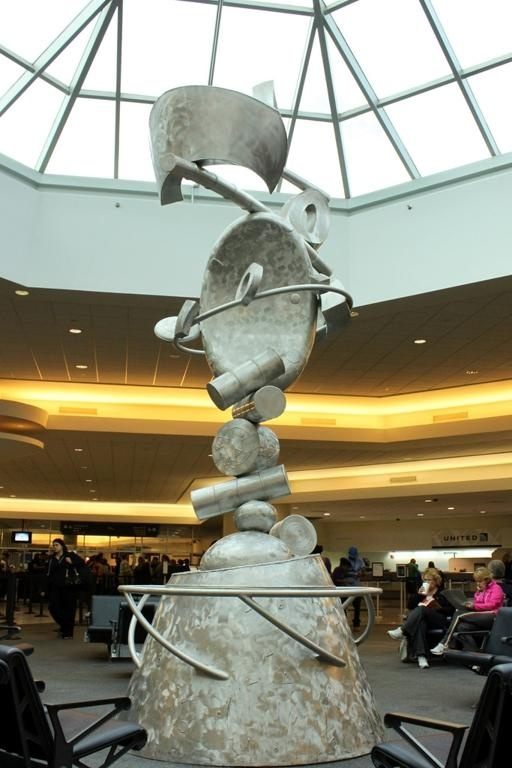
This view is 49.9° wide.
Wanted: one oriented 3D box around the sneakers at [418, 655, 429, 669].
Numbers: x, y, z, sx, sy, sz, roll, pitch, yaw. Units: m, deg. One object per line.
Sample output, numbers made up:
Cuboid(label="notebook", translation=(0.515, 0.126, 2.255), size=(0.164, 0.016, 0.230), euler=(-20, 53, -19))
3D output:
Cuboid(label="sneakers", translation=(2.600, 4.305, 8.540), size=(0.117, 0.130, 0.311), euler=(-1, -19, 1))

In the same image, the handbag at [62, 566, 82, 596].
Cuboid(label="handbag", translation=(-4.102, 4.369, 12.313), size=(0.369, 0.619, 0.260), euler=(1, -5, -18))
